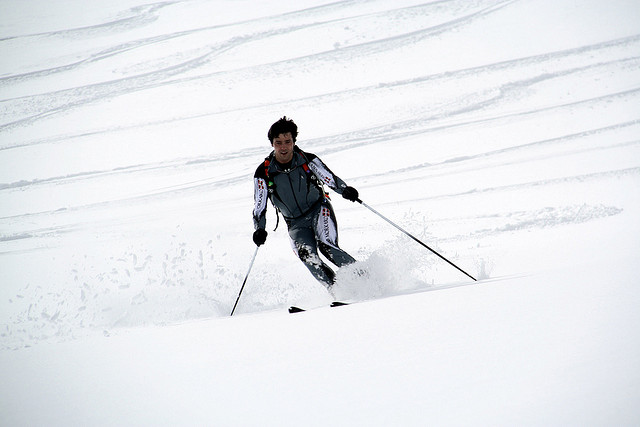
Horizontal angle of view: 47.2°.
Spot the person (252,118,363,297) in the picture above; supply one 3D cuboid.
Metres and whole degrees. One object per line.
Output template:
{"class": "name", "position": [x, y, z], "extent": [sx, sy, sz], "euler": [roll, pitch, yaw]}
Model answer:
{"class": "person", "position": [-0.212, -0.002, 10.862], "extent": [1.430, 2.582, 1.196], "euler": [-38, -13, 0]}

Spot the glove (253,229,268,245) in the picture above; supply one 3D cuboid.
{"class": "glove", "position": [-0.812, 0.302, 9.946], "extent": [0.170, 0.144, 0.196], "euler": [11, 13, 40]}

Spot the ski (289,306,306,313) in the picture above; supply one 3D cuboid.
{"class": "ski", "position": [-0.297, 1.303, 9.958], "extent": [0.197, 0.068, 0.063], "euler": [1, -42, -2]}
